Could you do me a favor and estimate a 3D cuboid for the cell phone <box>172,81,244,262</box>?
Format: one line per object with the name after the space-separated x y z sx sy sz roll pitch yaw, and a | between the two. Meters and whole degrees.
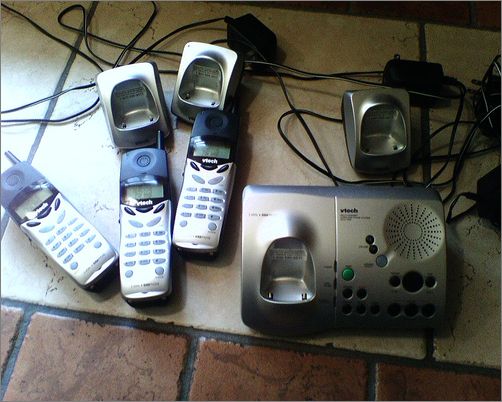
-0.063 -0.047 0.770 0.066 0.058 0.257 6 71 5 | cell phone

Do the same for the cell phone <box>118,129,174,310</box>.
-0.162 0.024 0.761 0.067 0.059 0.249 -4 69 -4 | cell phone

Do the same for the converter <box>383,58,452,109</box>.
0.277 -0.205 0.877 0.125 0.095 0.076 7 39 3 | converter

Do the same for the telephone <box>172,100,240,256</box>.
-0.068 -0.032 0.800 0.076 0.058 0.232 5 62 6 | telephone

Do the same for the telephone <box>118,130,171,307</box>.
-0.169 0.012 0.813 0.090 0.068 0.304 1 60 -9 | telephone

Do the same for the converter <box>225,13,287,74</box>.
0.006 -0.294 0.915 0.103 0.058 0.076 34 68 19 | converter
